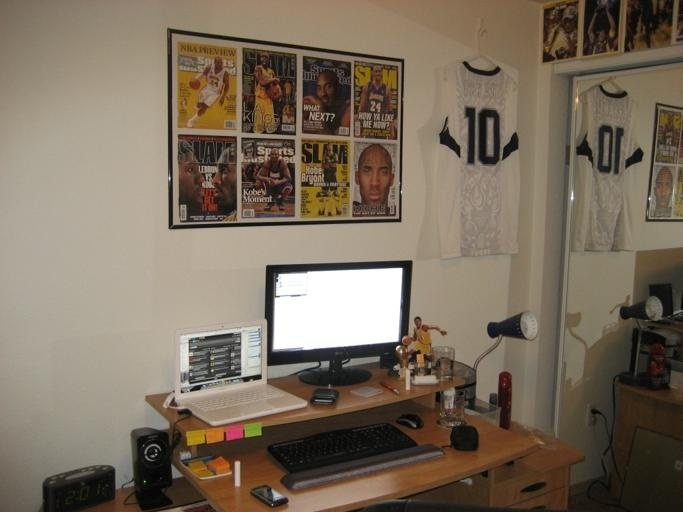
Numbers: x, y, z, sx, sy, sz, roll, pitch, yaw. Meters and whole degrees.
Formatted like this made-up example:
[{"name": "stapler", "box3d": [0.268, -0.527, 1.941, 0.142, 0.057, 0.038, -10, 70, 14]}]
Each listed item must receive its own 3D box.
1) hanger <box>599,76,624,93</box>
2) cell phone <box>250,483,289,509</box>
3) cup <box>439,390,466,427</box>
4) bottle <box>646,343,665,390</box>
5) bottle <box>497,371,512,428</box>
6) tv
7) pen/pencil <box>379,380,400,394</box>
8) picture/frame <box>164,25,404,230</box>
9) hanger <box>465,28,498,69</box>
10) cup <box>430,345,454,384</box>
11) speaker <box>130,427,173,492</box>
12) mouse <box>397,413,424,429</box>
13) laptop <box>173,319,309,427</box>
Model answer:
[{"name": "hanger", "box3d": [1.645, -1.054, 3.237, 0.009, 0.057, 0.120, -2, 24, -17]}, {"name": "cell phone", "box3d": [-0.260, 0.872, 1.935, 0.096, 0.023, 0.147, -8, 11, -37]}, {"name": "cup", "box3d": [0.539, 0.731, 2.557, 0.151, 0.167, 0.145, 6, -22, 2]}, {"name": "bottle", "box3d": [1.850, 0.647, 3.109, 0.015, 0.270, 0.107, -6, 10, -32]}, {"name": "bottle", "box3d": [0.884, 0.796, 2.906, 0.064, 0.261, 0.062, 3, -9, 0]}, {"name": "tv", "box3d": [-0.019, 0.315, 2.645, 0.765, 0.610, 0.246, -2, 12, -19]}, {"name": "pen/pencil", "box3d": [0.228, 0.627, 2.519, 0.027, 0.020, 0.156, -10, 12, -16]}, {"name": "picture/frame", "box3d": [-0.326, -0.647, 2.620, 1.046, 0.723, 0.014, -2, 9, -27]}, {"name": "hanger", "box3d": [0.820, -1.240, 3.170, 0.180, 0.217, 0.165, -13, 37, -19]}, {"name": "cup", "box3d": [0.515, 0.558, 2.730, 0.116, 0.170, 0.126, 1, -12, 0]}, {"name": "speaker", "box3d": [-0.785, 0.839, 2.202, 0.148, 0.236, 0.115, -5, 9, -22]}, {"name": "mouse", "box3d": [0.326, 0.762, 2.491, 0.093, 0.032, 0.055, 15, 11, 38]}, {"name": "laptop", "box3d": [-0.424, 0.475, 2.273, 0.337, 0.343, 0.474, -1, -2, 44]}]
